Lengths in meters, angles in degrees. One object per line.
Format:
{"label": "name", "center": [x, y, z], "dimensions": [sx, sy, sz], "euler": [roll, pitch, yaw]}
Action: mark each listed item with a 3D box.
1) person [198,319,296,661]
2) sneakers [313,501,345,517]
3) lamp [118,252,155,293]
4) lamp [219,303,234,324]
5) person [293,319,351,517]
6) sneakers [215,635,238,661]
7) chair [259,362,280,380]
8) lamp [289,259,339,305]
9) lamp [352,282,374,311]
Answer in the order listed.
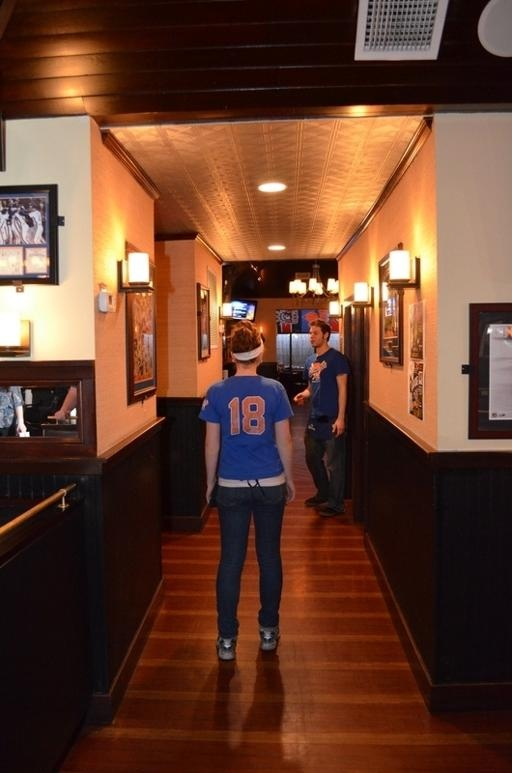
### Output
{"label": "person", "center": [-0.044, 0.519, 2.805], "dimensions": [0.447, 1.660, 0.312], "euler": [0, 1, 3]}
{"label": "sneakers", "center": [0.709, 1.184, 5.435], "dimensions": [0.261, 0.134, 0.104], "euler": [11, -4, -16]}
{"label": "lamp", "center": [-0.569, -0.517, 2.749], "dimensions": [0.146, 0.246, 0.231], "euler": [-1, 3, -1]}
{"label": "lamp", "center": [-0.349, -0.901, 7.077], "dimensions": [0.173, 0.395, 0.193], "euler": [2, 1, 3]}
{"label": "person", "center": [0.672, 0.305, 5.434], "dimensions": [0.335, 1.840, 0.610], "euler": [-1, 1, -31]}
{"label": "sneakers", "center": [-0.144, 1.293, 2.819], "dimensions": [0.061, 0.086, 0.122], "euler": [1, 4, 2]}
{"label": "chair", "center": [0.352, -0.463, 15.907], "dimensions": [0.668, 0.441, 0.695], "euler": [-2, -10, -5]}
{"label": "lamp", "center": [0.874, -1.487, 8.143], "dimensions": [0.610, 0.734, 0.562], "euler": [-8, 13, -33]}
{"label": "lamp", "center": [0.818, -0.689, 4.390], "dimensions": [0.135, 0.279, 0.250], "euler": [-1, -1, 16]}
